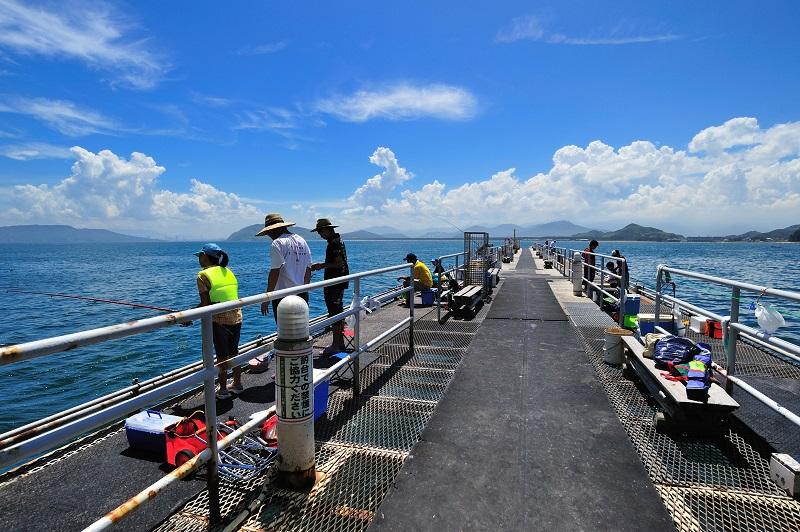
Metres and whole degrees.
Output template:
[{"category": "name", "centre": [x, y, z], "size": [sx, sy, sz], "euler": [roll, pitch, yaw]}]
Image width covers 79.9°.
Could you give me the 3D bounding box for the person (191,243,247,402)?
[{"category": "person", "centre": [-2.287, 0.585, 6.315], "size": [0.861, 2.328, 0.995], "euler": [0, 1, 9]}]

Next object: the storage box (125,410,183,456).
[{"category": "storage box", "centre": [-2.761, 1.896, 5.394], "size": [0.765, 0.478, 0.253], "euler": [0, 8, 26]}]

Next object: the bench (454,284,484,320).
[{"category": "bench", "centre": [1.525, 0.802, 10.803], "size": [0.469, 0.583, 1.870], "euler": [-1, 6, 17]}]

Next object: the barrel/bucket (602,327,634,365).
[{"category": "barrel/bucket", "centre": [3.253, 1.220, 7.237], "size": [0.511, 0.482, 0.534], "euler": [-1, 2, 0]}]

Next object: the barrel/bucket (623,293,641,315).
[{"category": "barrel/bucket", "centre": [4.512, 0.752, 9.323], "size": [0.255, 0.364, 0.439], "euler": [1, 7, 33]}]

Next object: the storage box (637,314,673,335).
[{"category": "storage box", "centre": [4.068, 0.938, 7.628], "size": [0.490, 0.271, 0.466], "euler": [-2, 2, -3]}]
